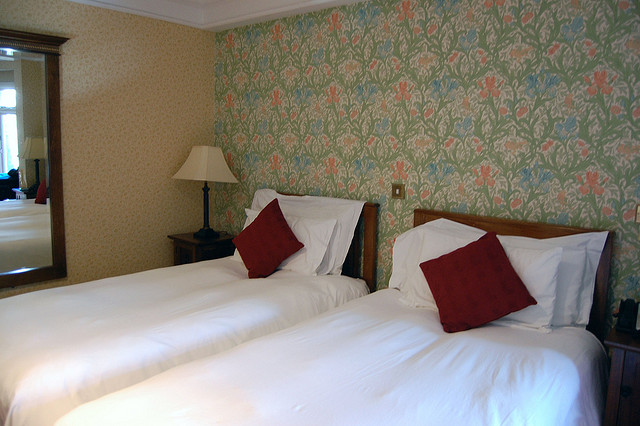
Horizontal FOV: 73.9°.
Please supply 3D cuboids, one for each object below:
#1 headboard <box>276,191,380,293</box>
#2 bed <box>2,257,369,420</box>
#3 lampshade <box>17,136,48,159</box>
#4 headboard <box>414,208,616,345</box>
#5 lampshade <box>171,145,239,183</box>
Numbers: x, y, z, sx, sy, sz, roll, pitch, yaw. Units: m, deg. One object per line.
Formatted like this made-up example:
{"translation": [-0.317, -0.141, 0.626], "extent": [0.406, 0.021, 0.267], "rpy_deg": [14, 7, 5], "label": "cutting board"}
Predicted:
{"translation": [0.101, 0.297, 3.763], "extent": [0.638, 0.771, 0.064], "rpy_deg": [-26, -20, 31], "label": "headboard"}
{"translation": [-1.128, 0.729, 2.919], "extent": [1.356, 0.354, 1.099], "rpy_deg": [-6, 8, -41], "label": "bed"}
{"translation": [-2.624, -0.586, 3.891], "extent": [0.201, 0.134, 0.210], "rpy_deg": [8, 15, -4], "label": "lampshade"}
{"translation": [1.383, 0.468, 2.920], "extent": [0.820, 0.629, 0.035], "rpy_deg": [9, -7, 38], "label": "headboard"}
{"translation": [-1.216, -0.430, 4.596], "extent": [0.453, 0.349, 0.456], "rpy_deg": [4, -1, -14], "label": "lampshade"}
